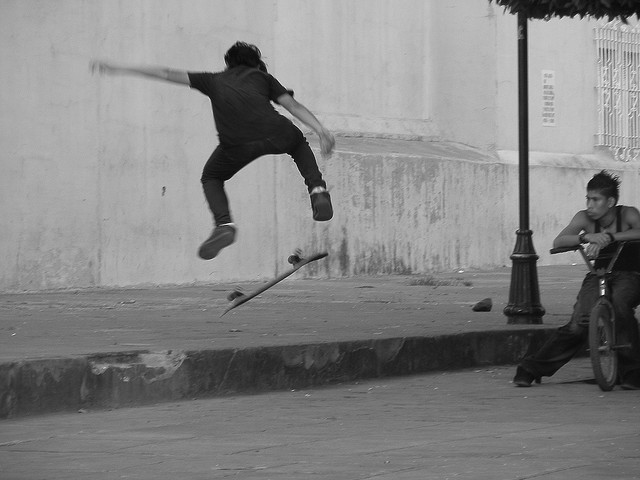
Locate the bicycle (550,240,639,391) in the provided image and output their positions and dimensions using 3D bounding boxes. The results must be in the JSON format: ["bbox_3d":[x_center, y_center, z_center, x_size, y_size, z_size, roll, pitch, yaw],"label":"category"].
[{"bbox_3d":[2.157,0.554,10.206,0.713,1.006,0.421,1,1,-42],"label":"bicycle"}]

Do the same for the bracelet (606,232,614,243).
[{"bbox_3d":[2.198,-0.014,10.170,0.056,0.040,0.050,-9,16,-26],"label":"bracelet"}]

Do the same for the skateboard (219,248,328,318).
[{"bbox_3d":[-0.588,0.458,14.840,1.635,0.318,0.309,-24,-4,-25],"label":"skateboard"}]

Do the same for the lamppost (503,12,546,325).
[{"bbox_3d":[1.870,-0.629,12.062,0.356,2.393,0.475,1,0,7],"label":"lamppost"}]
